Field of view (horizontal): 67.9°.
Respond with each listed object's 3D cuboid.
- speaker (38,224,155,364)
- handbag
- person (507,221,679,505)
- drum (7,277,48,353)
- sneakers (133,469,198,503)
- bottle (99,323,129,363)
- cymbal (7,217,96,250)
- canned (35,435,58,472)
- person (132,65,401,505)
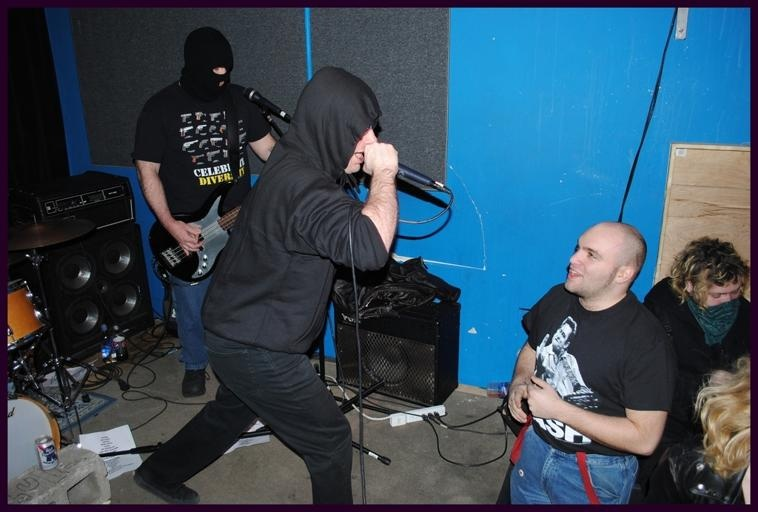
[{"bbox_3d":[-2.078,0.280,4.082,0.370,0.950,0.830,6,19,27],"label":"speaker"},{"bbox_3d":[0.110,0.215,3.651,0.569,0.182,0.473,-9,14,-15],"label":"handbag"},{"bbox_3d":[1.007,0.571,2.713,0.715,1.396,0.615,6,19,13],"label":"person"},{"bbox_3d":[-2.112,0.340,3.285,0.140,0.340,0.244,7,19,16],"label":"drum"},{"bbox_3d":[-1.163,1.249,3.048,0.304,0.116,0.097,17,24,-11],"label":"sneakers"},{"bbox_3d":[-1.988,0.621,4.217,0.186,0.283,0.298,-8,20,-26],"label":"bottle"},{"bbox_3d":[-2.032,-0.146,3.475,0.306,0.070,0.299,5,20,8],"label":"cymbal"},{"bbox_3d":[-1.733,1.029,2.939,0.086,0.170,0.069,-11,22,-34],"label":"canned"},{"bbox_3d":[-0.389,0.171,2.663,0.928,2.009,0.555,2,18,1],"label":"person"}]
